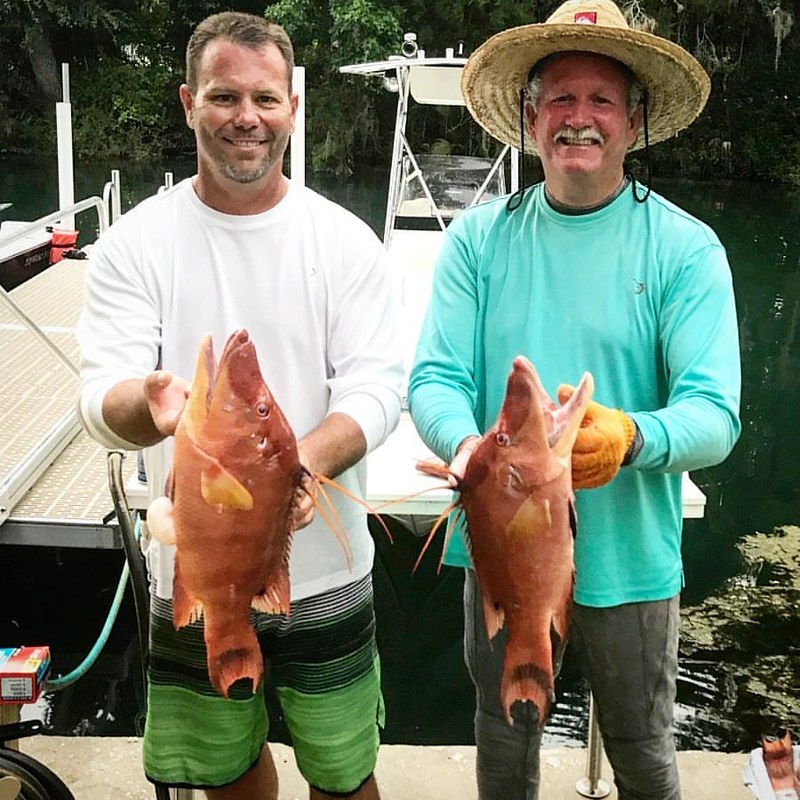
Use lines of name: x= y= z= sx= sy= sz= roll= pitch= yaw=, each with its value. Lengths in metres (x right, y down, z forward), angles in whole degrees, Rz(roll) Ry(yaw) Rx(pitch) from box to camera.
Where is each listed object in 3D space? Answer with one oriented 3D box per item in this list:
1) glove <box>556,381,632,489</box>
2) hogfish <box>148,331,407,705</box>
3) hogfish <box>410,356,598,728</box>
glove: x=0.454 y=0.070 z=2.478 sx=0.188 sy=0.107 sz=0.246 roll=-37 pitch=21 yaw=-25
hogfish: x=-0.327 y=0.234 z=2.224 sx=0.379 sy=0.794 sz=0.226 roll=-5 pitch=13 yaw=-15
hogfish: x=0.274 y=0.307 z=2.337 sx=0.311 sy=0.863 sz=0.206 roll=0 pitch=13 yaw=9
